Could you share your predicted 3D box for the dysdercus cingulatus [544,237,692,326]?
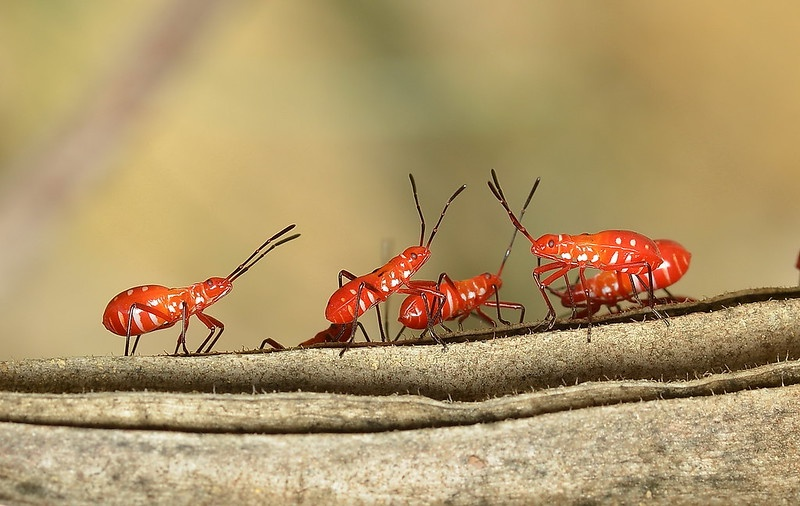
[{"bbox_3d":[0.549,0.075,2.498,0.276,0.097,0.205,-6,-2,26],"label":"dysdercus cingulatus"}]
